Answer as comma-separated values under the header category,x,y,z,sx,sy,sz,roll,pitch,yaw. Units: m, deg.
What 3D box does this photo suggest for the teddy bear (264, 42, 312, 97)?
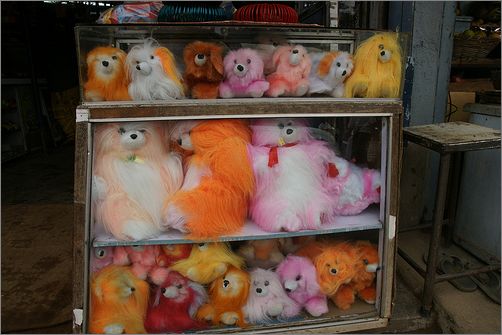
category,x,y,z,sx,sy,sz,roll,pitch,yaw
teddy bear,0.275,-0.681,2.995,0.300,0.397,0.288,7,4,-6

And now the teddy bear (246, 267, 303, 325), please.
category,x,y,z,sx,sy,sz,roll,pitch,yaw
teddy bear,0.082,0.941,3.239,0.488,0.336,0.487,-1,11,-2

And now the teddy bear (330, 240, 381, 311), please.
category,x,y,z,sx,sy,sz,roll,pitch,yaw
teddy bear,0.817,0.789,3.279,0.342,0.514,0.383,-7,16,12

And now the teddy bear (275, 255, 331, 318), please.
category,x,y,z,sx,sy,sz,roll,pitch,yaw
teddy bear,0.376,0.884,3.116,0.279,0.267,0.475,-5,16,12

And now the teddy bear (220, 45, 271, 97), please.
category,x,y,z,sx,sy,sz,roll,pitch,yaw
teddy bear,-0.051,-0.625,2.777,0.290,0.270,0.349,0,13,5

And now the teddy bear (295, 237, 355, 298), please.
category,x,y,z,sx,sy,sz,roll,pitch,yaw
teddy bear,0.502,0.693,3.276,0.333,0.191,0.436,6,20,-21

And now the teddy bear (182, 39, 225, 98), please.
category,x,y,z,sx,sy,sz,roll,pitch,yaw
teddy bear,-0.346,-0.661,2.955,0.326,0.409,0.256,-2,7,-16

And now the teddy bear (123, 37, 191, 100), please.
category,x,y,z,sx,sy,sz,roll,pitch,yaw
teddy bear,-0.700,-0.700,3.095,0.404,0.472,0.580,-5,19,1
